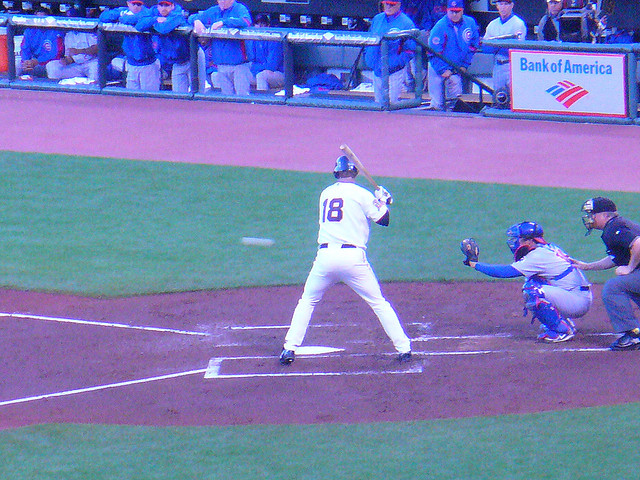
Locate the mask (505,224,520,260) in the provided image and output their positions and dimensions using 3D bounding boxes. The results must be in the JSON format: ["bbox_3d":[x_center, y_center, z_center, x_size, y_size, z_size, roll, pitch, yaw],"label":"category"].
[{"bbox_3d":[2.302,-0.015,18.400,0.144,0.436,0.473,3,7,6],"label":"mask"}]

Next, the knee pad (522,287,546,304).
[{"bbox_3d":[2.494,0.622,18.226,0.166,0.211,0.293,-4,9,-36],"label":"knee pad"}]

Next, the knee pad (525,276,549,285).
[{"bbox_3d":[2.566,0.440,18.276,0.241,0.090,0.069,0,8,-16],"label":"knee pad"}]

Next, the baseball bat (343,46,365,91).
[{"bbox_3d":[0.594,-2.718,24.455,0.127,0.749,0.188,2,40,-24],"label":"baseball bat"}]

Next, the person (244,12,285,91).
[{"bbox_3d":[-0.720,-2.865,24.247,0.634,1.300,0.502,20,31,31],"label":"person"}]

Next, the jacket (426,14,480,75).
[{"bbox_3d":[2.035,-2.941,23.449,1.033,0.980,0.537,-5,45,-3],"label":"jacket"}]

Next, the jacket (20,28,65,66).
[{"bbox_3d":[-4.519,-3.183,25.396,0.375,0.567,0.855,-6,10,-45],"label":"jacket"}]

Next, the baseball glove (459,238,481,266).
[{"bbox_3d":[1.767,0.137,18.157,0.221,0.425,0.186,-5,55,7],"label":"baseball glove"}]

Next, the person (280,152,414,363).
[{"bbox_3d":[0.288,0.139,18.431,1.564,2.424,1.098,0,4,0],"label":"person"}]

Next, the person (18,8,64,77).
[{"bbox_3d":[-4.501,-3.214,25.480,0.521,0.976,0.368,10,30,24],"label":"person"}]

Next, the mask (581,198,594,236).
[{"bbox_3d":[3.139,-0.310,18.128,0.145,0.331,0.279,4,7,6],"label":"mask"}]

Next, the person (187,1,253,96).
[{"bbox_3d":[-1.485,-3.024,24.342,0.952,1.472,0.640,4,8,12],"label":"person"}]

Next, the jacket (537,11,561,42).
[{"bbox_3d":[3.483,-3.277,23.671,0.241,0.421,0.478,-3,8,-31],"label":"jacket"}]

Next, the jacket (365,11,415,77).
[{"bbox_3d":[1.077,-2.990,23.531,0.780,0.992,0.581,5,8,20],"label":"jacket"}]

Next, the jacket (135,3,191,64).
[{"bbox_3d":[-2.437,-3.249,24.323,0.811,1.009,0.671,2,44,15],"label":"jacket"}]

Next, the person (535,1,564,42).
[{"bbox_3d":[3.511,-3.346,23.619,0.353,0.601,0.974,3,7,8],"label":"person"}]
